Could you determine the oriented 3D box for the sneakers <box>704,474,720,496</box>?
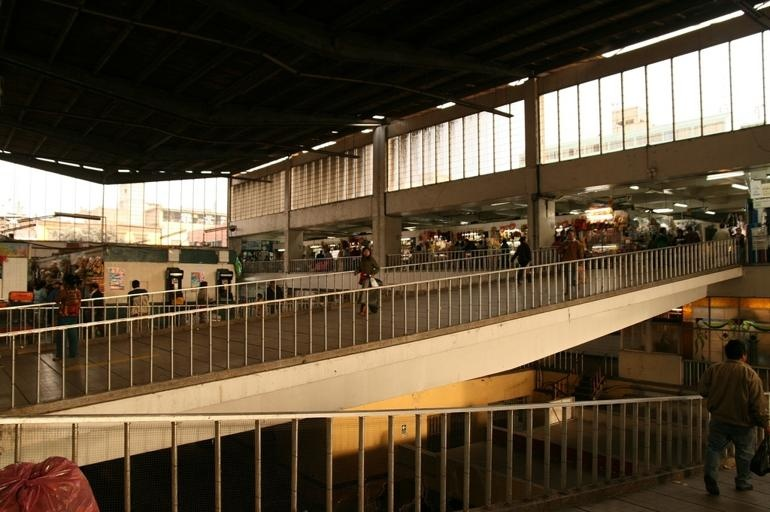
[{"bbox_3d":[7.640,5.419,18.196,0.231,0.552,0.262,-24,-21,27],"label":"sneakers"}]
